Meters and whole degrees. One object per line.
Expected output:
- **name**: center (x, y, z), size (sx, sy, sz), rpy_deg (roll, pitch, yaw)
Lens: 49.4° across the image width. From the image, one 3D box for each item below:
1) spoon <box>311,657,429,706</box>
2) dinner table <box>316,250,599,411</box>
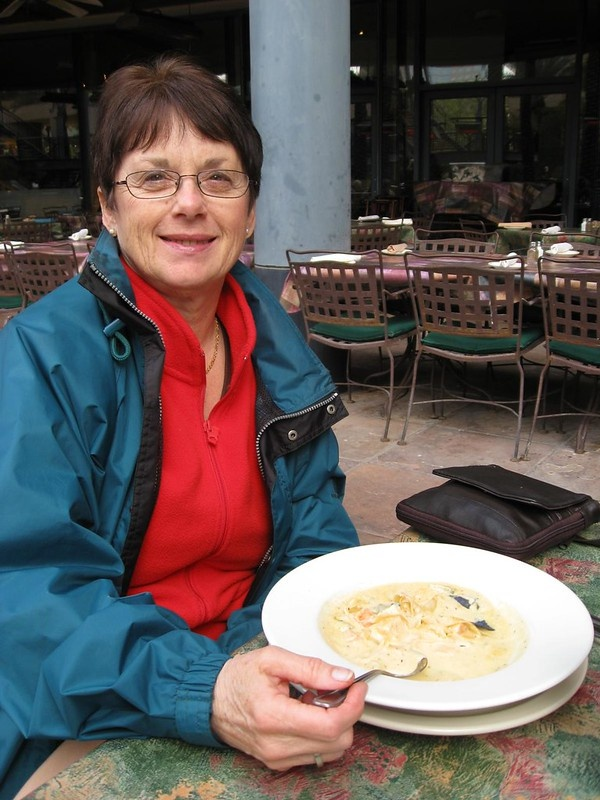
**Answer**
- **spoon**: center (0.067, 0.271, 0.622), size (0.101, 0.013, 0.020), rpy_deg (-16, 9, -30)
- **dinner table**: center (1.008, -0.444, 4.122), size (0.949, 1.324, 0.885), rpy_deg (8, 48, 21)
